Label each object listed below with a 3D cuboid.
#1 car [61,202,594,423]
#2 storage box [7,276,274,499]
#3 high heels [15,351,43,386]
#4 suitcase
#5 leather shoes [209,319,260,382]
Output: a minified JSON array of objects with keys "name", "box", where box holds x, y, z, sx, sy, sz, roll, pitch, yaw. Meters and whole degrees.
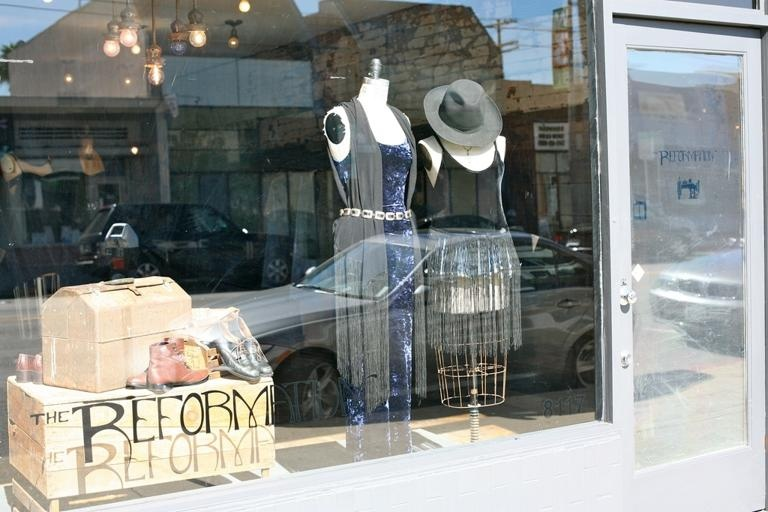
[{"name":"car","box":[-0.251,0.302,5.593,2.449,0.848,1.061,3,1,-23]},{"name":"storage box","box":[-1.173,0.640,5.102,0.985,0.896,0.504,-1,-1,-37]},{"name":"high heels","box":[-1.618,0.508,5.037,0.143,0.139,0.117,3,2,-18]},{"name":"suitcase","box":[-1.231,0.314,5.203,0.450,0.603,0.796,6,6,33]},{"name":"leather shoes","box":[-0.690,0.464,5.226,0.134,0.341,0.157,-50,-20,23]}]
